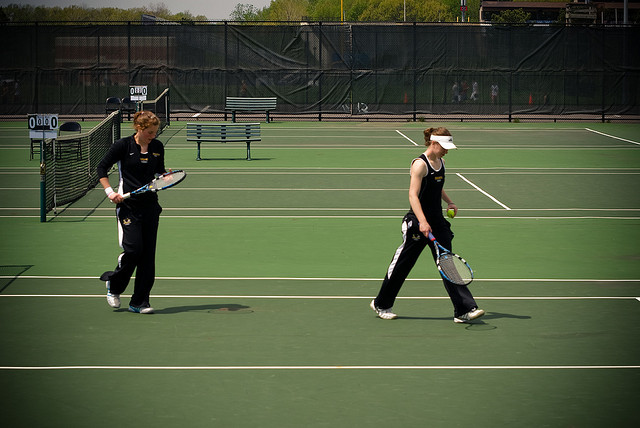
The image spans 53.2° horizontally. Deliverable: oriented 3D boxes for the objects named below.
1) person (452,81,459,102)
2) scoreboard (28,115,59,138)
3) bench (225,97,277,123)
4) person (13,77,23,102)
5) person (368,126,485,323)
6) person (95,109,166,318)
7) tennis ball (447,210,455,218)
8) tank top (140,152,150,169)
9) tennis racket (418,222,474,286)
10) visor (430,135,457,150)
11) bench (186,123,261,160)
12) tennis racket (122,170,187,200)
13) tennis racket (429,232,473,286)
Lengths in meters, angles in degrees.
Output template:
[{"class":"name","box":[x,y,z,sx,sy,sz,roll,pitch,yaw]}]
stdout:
[{"class":"person","box":[8.203,-7.408,38.808,0.380,1.195,0.455,2,12,10]},{"class":"scoreboard","box":[-6.608,-2.099,15.249,0.804,0.530,0.133,0,-2,8]},{"class":"bench","box":[-3.935,-5.940,36.107,2.642,1.133,1.106,-4,12,-20]},{"class":"person","box":[-18.588,-7.627,39.267,0.492,1.395,0.970,-5,13,-24]},{"class":"person","box":[1.275,0.133,7.614,1.253,2.305,0.953,1,12,7]},{"class":"person","box":[-2.271,0.005,7.751,0.785,2.455,0.569,-3,12,-14]},{"class":"tennis ball","box":[1.557,-0.007,7.628,0.077,0.111,0.238,2,12,10]},{"class":"tank top","box":[-2.127,-0.675,7.771,0.114,0.148,0.057,1,-2,-6]},{"class":"tennis racket","box":[1.434,0.424,7.546,0.356,0.076,1.060,11,32,-29]},{"class":"visor","box":[1.414,-0.828,7.295,0.162,0.076,0.227,5,18,-45]},{"class":"bench","box":[-3.430,-2.593,23.085,2.945,1.312,0.537,2,-4,18]},{"class":"tennis racket","box":[-1.927,-0.363,7.613,0.778,0.056,0.304,-24,42,-16]},{"class":"tennis racket","box":[1.484,0.538,7.437,0.281,0.075,0.951,-28,28,-1]}]
